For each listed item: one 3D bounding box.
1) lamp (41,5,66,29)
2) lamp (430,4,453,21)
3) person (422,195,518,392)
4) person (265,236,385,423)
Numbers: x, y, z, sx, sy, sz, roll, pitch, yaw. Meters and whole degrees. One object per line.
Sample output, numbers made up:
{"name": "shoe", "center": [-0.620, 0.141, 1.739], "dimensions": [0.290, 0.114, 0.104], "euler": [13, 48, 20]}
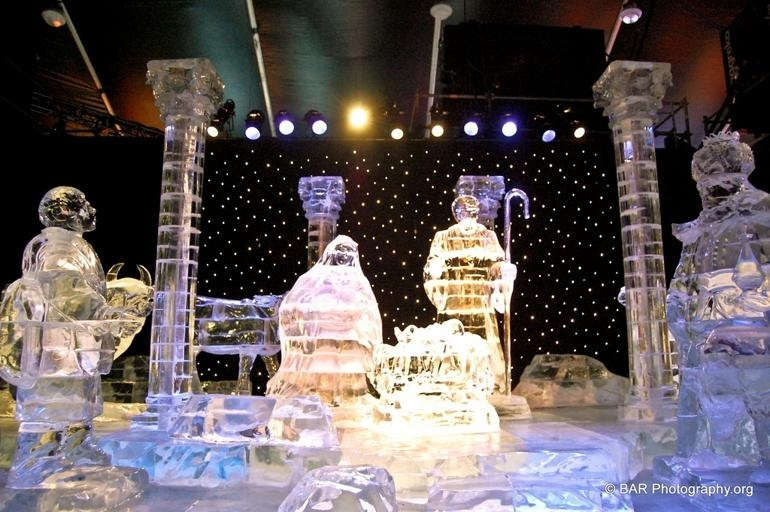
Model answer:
{"name": "lamp", "center": [-4.234, -3.048, 8.694], "dimensions": [0.279, 0.184, 0.411], "euler": [3, -9, -22]}
{"name": "lamp", "center": [0.738, -3.243, 9.025], "dimensions": [0.300, 0.182, 0.374], "euler": [-1, -8, 6]}
{"name": "person", "center": [0.791, 0.325, 6.503], "dimensions": [0.826, 1.929, 0.500], "euler": [-1, -9, 3]}
{"name": "person", "center": [-0.510, 0.599, 5.837], "dimensions": [0.928, 1.614, 0.381], "euler": [0, -9, -1]}
